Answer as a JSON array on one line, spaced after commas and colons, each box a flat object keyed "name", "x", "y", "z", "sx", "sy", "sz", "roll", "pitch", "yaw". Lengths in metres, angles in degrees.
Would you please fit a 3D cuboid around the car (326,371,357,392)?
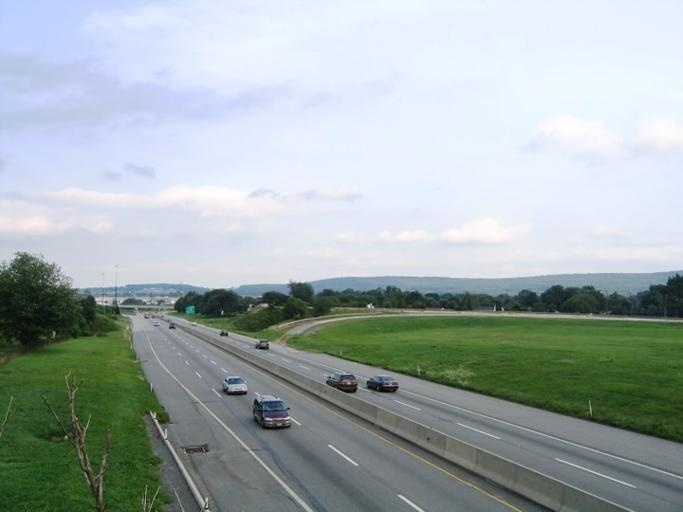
[{"name": "car", "x": -0.083, "y": 11.400, "z": 52.322, "sx": 1.298, "sy": 0.963, "sz": 2.847, "roll": 3, "pitch": 0, "yaw": -21}]

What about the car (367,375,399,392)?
[{"name": "car", "x": 3.538, "y": 11.779, "z": 53.273, "sx": 1.234, "sy": 0.868, "sz": 2.693, "roll": 3, "pitch": -2, "yaw": -22}]
